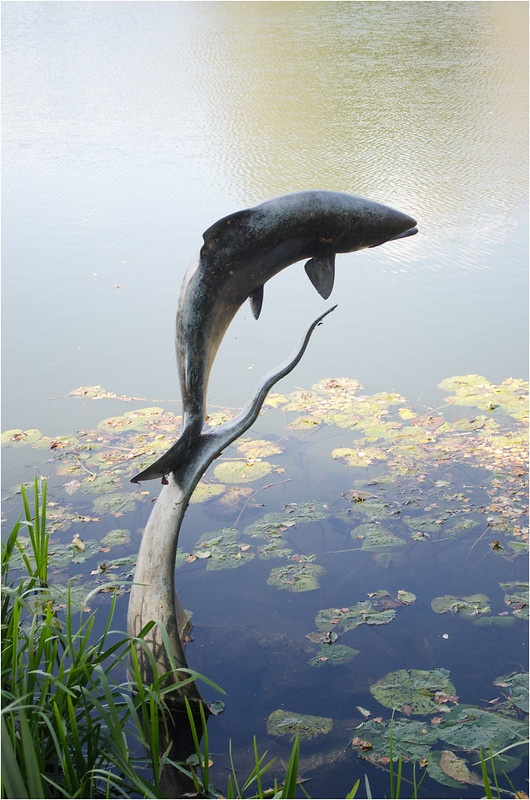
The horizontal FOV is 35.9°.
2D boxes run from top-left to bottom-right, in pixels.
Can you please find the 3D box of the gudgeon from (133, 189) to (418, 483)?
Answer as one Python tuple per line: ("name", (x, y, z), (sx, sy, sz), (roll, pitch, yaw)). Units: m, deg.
("gudgeon", (0.014, -0.259, 3.049), (1.067, 1.040, 0.321), (-1, -3, -34))
